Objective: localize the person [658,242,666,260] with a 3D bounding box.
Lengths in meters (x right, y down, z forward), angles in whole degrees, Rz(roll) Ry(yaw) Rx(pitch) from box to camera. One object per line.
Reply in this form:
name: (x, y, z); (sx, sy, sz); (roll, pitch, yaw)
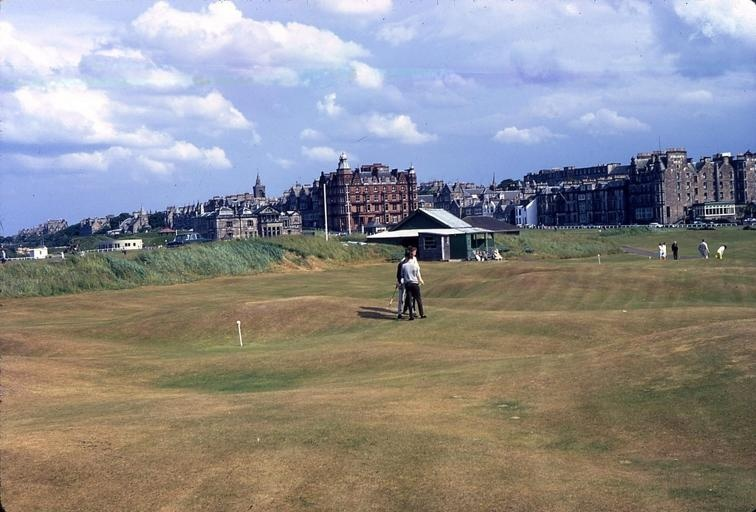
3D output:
person: (23.442, -0.386, 65.209); (0.341, 1.409, 2.681); (-2, 5, 17)
